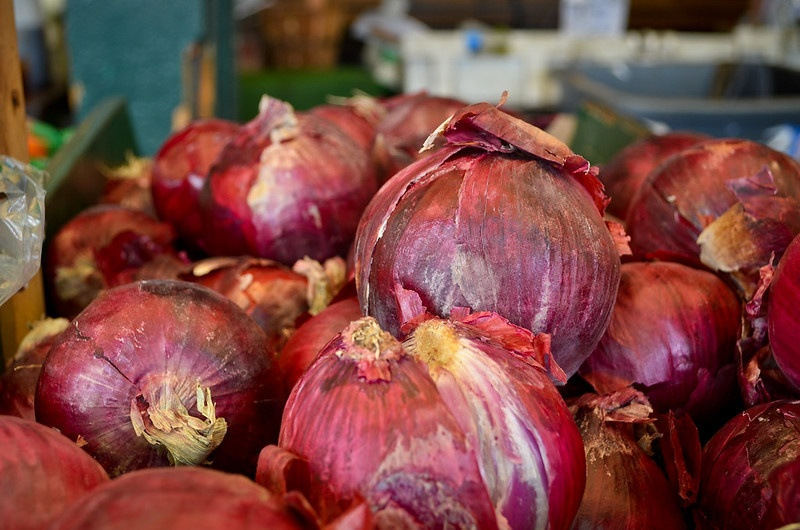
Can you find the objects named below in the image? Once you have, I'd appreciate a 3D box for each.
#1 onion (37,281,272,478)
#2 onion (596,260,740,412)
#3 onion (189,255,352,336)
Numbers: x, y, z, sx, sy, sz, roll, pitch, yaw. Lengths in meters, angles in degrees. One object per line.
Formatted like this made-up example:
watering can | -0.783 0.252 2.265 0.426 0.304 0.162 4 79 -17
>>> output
onion | -0.285 0.150 1.008 0.238 0.244 0.244 38 -15 13
onion | 0.351 0.098 0.996 0.171 0.164 0.190 2 -8 -45
onion | -0.184 0.077 1.101 0.229 0.141 0.168 4 -12 -16
